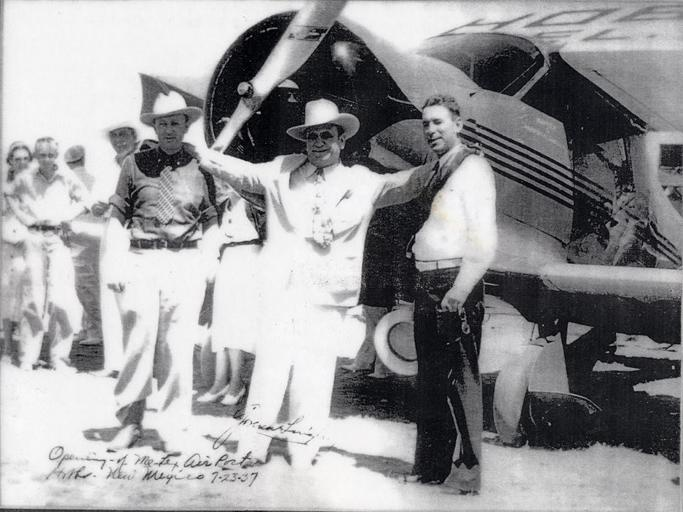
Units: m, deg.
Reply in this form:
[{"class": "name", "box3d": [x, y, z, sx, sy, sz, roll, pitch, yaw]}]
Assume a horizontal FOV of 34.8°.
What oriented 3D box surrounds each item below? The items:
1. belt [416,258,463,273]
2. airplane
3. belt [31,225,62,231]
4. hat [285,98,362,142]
[{"class": "belt", "box3d": [1.000, 0.087, 11.287, 0.471, 0.159, 0.036, 4, -6, 2]}, {"class": "airplane", "box3d": [1.577, -0.461, 12.850, 5.227, 2.447, 4.618, 7, -2, 19]}, {"class": "belt", "box3d": [-3.114, -0.300, 11.544, 0.336, 0.079, 0.086, 6, 1, -1]}, {"class": "hat", "box3d": [-0.214, -1.482, 11.491, 0.769, 0.262, 0.663, -6, -6, -7]}]
